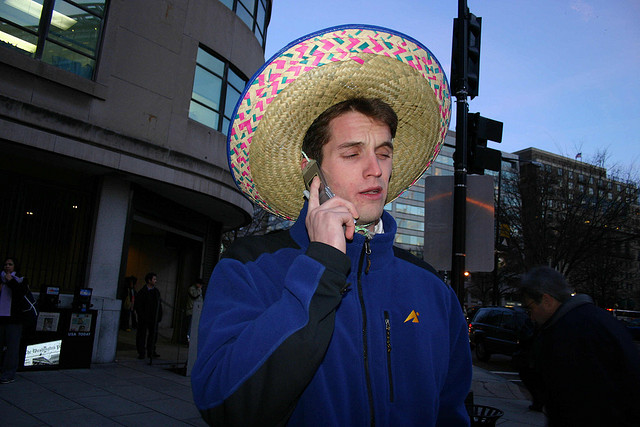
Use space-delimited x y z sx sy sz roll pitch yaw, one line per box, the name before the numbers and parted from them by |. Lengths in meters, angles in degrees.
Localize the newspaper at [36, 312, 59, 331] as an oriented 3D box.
newspaper | -6.951 2.749 11.870 0.471 0.459 0.069 6 -11 -28
